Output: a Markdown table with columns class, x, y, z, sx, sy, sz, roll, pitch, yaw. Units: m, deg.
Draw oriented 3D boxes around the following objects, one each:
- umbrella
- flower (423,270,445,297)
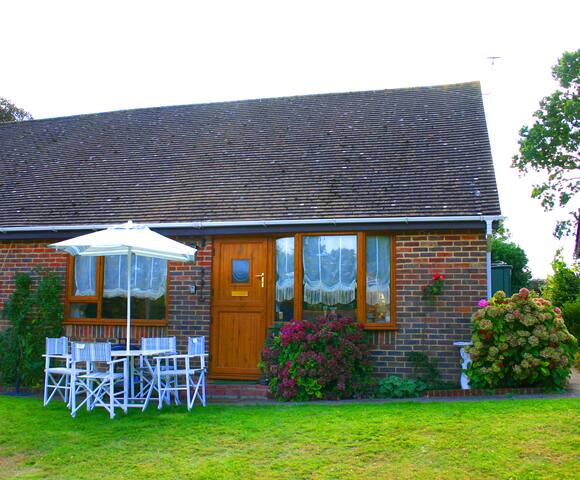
| class | x | y | z | sx | sy | sz | roll | pitch | yaw |
| --- | --- | --- | --- | --- | --- | --- | --- | --- | --- |
| umbrella | -3.232 | 0.958 | 16.590 | 2.451 | 2.611 | 2.815 | -1 | -10 | 12 |
| flower | 3.090 | 1.017 | 17.148 | 0.390 | 0.516 | 0.281 | -1 | -46 | -10 |
